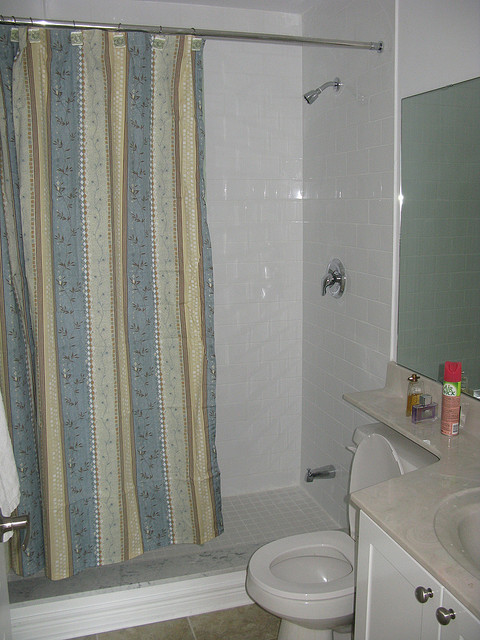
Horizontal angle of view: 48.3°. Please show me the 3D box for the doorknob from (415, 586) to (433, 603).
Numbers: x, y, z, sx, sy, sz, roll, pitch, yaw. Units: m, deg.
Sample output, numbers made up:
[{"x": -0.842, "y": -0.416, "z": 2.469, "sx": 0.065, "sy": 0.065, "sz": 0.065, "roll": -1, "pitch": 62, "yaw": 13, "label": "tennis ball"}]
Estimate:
[{"x": 0.326, "y": 0.489, "z": 0.957, "sx": 0.028, "sy": 0.027, "sz": 0.025, "roll": -11, "pitch": 10, "yaw": 4, "label": "doorknob"}]

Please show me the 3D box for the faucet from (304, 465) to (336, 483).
[{"x": 0.357, "y": 0.686, "z": 2.478, "sx": 0.151, "sy": 0.081, "sz": 0.093, "roll": -9, "pitch": 18, "yaw": -9, "label": "faucet"}]

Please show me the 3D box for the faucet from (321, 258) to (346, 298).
[{"x": 0.392, "y": -0.179, "z": 2.323, "sx": 0.071, "sy": 0.182, "sz": 0.154, "roll": -5, "pitch": 15, "yaw": -19, "label": "faucet"}]

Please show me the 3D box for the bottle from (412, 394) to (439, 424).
[{"x": 0.542, "y": 0.264, "z": 1.581, "sx": 0.063, "sy": 0.073, "sz": 0.026, "roll": -4, "pitch": 8, "yaw": -25, "label": "bottle"}]

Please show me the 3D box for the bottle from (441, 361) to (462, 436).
[{"x": 0.566, "y": 0.212, "z": 1.450, "sx": 0.049, "sy": 0.194, "sz": 0.041, "roll": 9, "pitch": 17, "yaw": 27, "label": "bottle"}]
